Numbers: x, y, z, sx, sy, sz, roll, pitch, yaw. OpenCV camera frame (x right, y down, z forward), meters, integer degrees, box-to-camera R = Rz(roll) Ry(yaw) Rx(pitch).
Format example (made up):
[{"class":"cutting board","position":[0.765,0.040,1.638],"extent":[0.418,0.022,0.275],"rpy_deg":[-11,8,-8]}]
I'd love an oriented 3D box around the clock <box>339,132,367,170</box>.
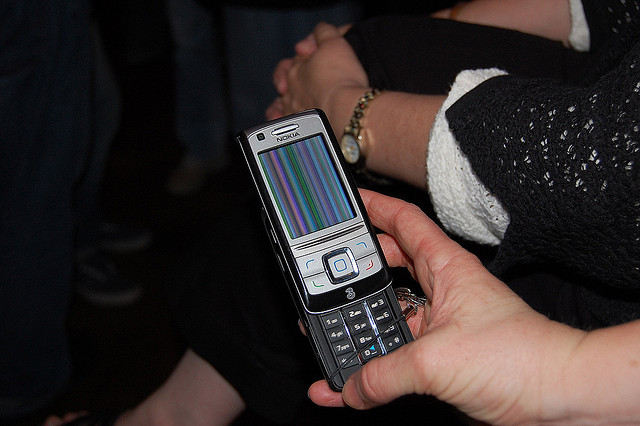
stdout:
[{"class":"clock","position":[0.072,-0.133,1.186],"extent":[0.044,0.076,0.070],"rpy_deg":[3,26,38]}]
